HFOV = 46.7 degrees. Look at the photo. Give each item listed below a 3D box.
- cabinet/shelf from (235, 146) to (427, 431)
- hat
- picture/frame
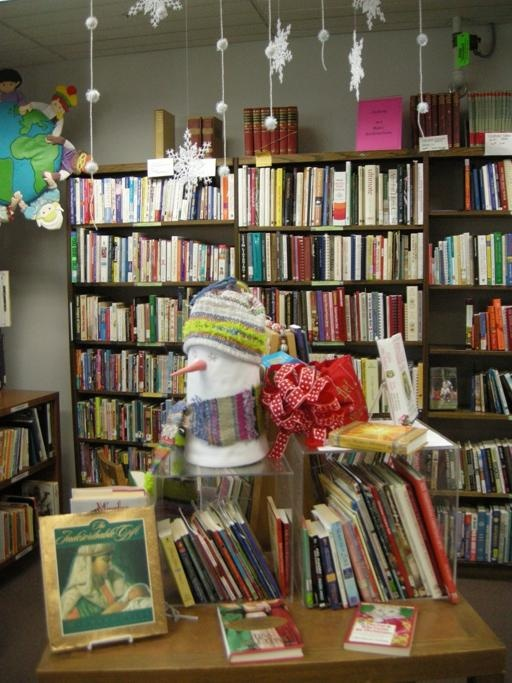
[{"bbox_3d":[0.408,-0.332,3.106,0.951,1.294,0.329,-2,5,19],"label":"cabinet/shelf"},{"bbox_3d":[-0.068,-0.049,1.273,0.156,0.143,0.131,12,1,24],"label":"hat"},{"bbox_3d":[-0.284,0.450,1.127,0.287,0.299,0.050,-8,-20,-13],"label":"picture/frame"}]
